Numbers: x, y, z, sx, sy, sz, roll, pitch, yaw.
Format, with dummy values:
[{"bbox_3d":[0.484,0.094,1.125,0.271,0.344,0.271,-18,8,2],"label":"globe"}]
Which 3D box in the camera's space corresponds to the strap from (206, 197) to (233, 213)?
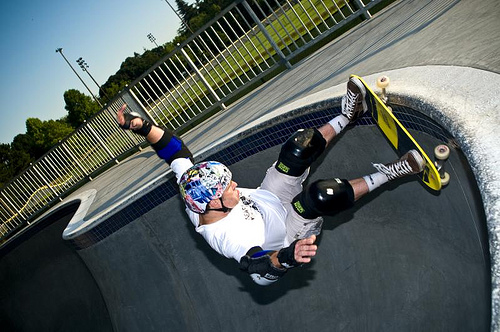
[{"bbox_3d":[-0.482,0.631,6.295,0.284,0.081,0.231,-15,41,-6],"label":"strap"}]
